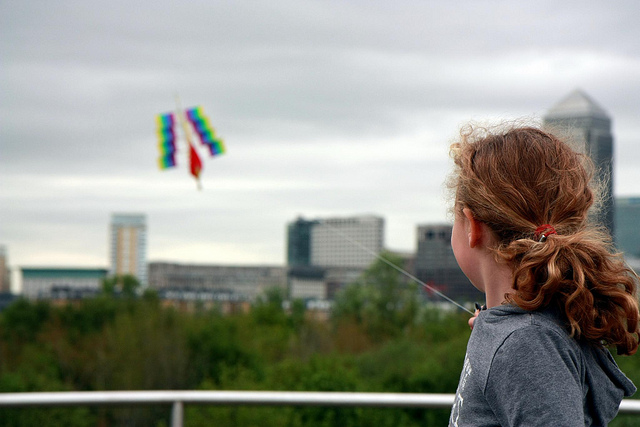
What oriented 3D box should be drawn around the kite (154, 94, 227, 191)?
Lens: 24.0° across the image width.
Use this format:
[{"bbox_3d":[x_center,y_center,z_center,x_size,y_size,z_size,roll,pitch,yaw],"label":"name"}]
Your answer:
[{"bbox_3d":[-0.779,-0.426,9.006,0.416,0.519,0.510,4,1,-4],"label":"kite"}]
